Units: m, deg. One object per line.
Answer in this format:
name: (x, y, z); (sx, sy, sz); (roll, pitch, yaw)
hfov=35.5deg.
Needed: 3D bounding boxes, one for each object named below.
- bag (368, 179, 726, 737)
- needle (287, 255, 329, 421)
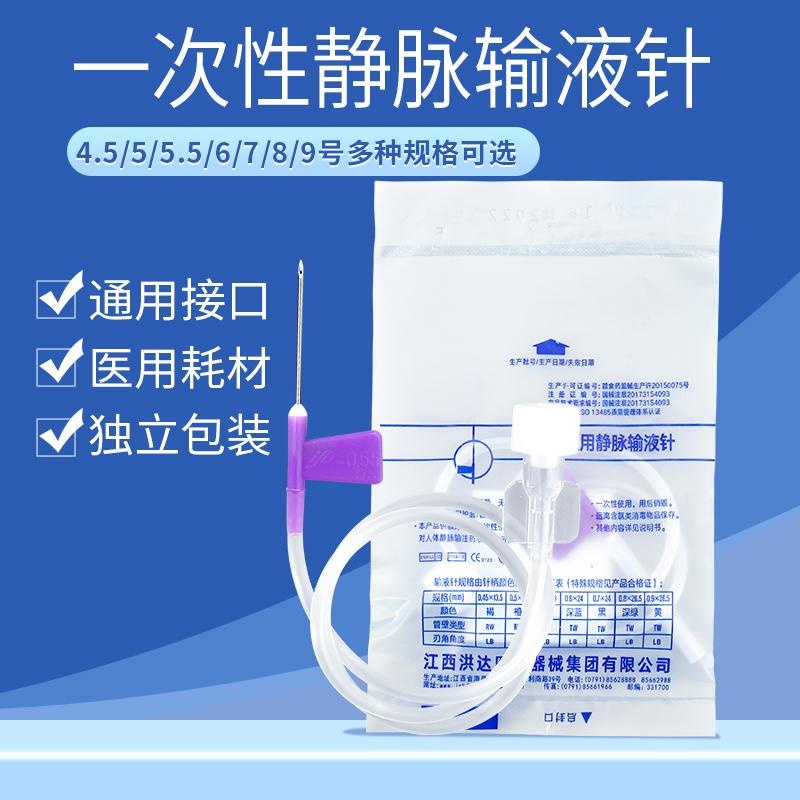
bag: (0.166, 0.079, 1.427); (0.375, 0.080, 0.651); (0, 100, 4)
needle: (-0.116, -0.062, 1.425); (0.022, 0.022, 0.199); (1, 85, -4)
